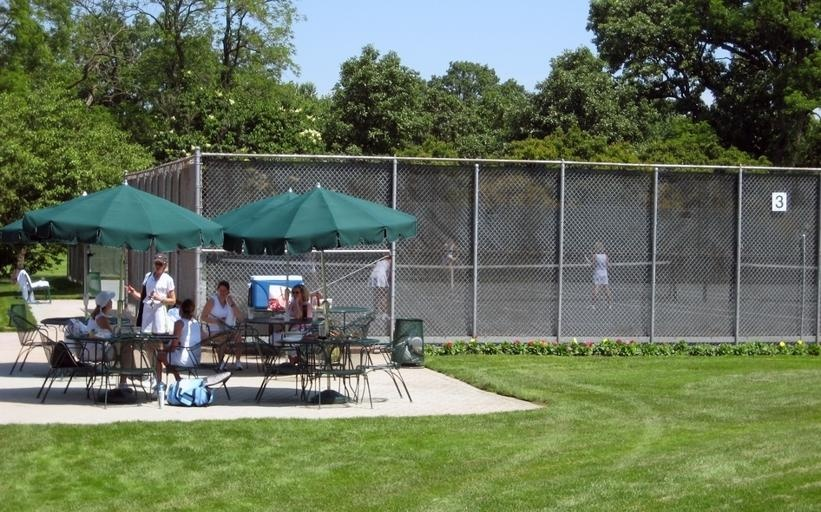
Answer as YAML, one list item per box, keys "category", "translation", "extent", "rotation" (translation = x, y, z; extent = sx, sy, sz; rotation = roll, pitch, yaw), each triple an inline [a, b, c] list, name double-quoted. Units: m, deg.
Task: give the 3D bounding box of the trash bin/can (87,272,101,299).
- category: "trash bin/can"
  translation: [-9.652, 0.850, 30.325]
  extent: [0.430, 0.807, 0.827]
  rotation: [2, -5, -21]

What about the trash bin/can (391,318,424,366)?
- category: "trash bin/can"
  translation: [-0.051, 2.019, 23.879]
  extent: [0.906, 1.198, 0.868]
  rotation: [-3, 10, -29]

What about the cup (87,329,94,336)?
- category: "cup"
  translation: [-6.526, 1.562, 20.290]
  extent: [0.131, 0.145, 0.132]
  rotation: [1, -7, 0]

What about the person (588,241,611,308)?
- category: "person"
  translation: [4.913, 0.501, 25.663]
  extent: [0.517, 1.715, 0.162]
  rotation: [-2, -3, -11]

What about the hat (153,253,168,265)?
- category: "hat"
  translation: [-5.929, 0.074, 23.623]
  extent: [0.298, 0.226, 0.437]
  rotation: [3, -8, -4]

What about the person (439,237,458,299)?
- category: "person"
  translation: [1.007, 0.252, 25.131]
  extent: [0.407, 1.363, 0.144]
  rotation: [0, -4, -30]
